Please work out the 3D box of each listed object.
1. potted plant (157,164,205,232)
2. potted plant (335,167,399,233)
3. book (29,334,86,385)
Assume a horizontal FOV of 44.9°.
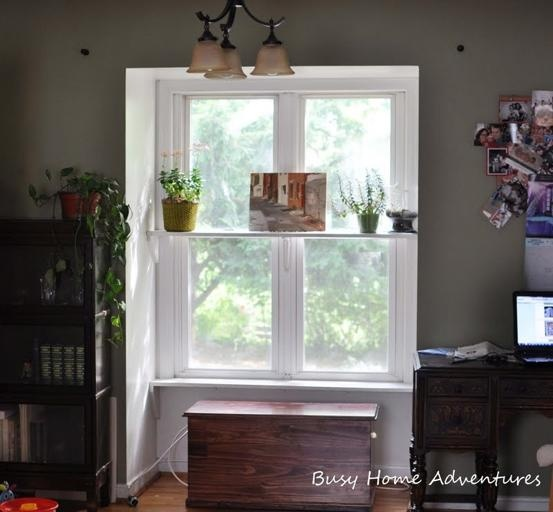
[{"bbox_3d":[-0.599,-0.352,4.177,0.256,0.405,0.214,1,0,-6],"label":"potted plant"},{"bbox_3d":[0.539,-0.363,4.210,0.351,0.535,0.366,-1,6,-4],"label":"potted plant"},{"bbox_3d":[-1.204,0.590,3.688,0.300,0.228,0.050,0,0,13],"label":"book"}]
